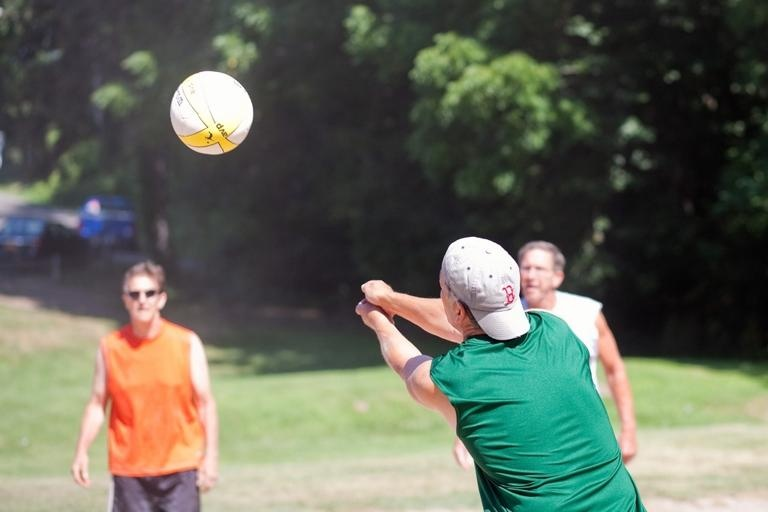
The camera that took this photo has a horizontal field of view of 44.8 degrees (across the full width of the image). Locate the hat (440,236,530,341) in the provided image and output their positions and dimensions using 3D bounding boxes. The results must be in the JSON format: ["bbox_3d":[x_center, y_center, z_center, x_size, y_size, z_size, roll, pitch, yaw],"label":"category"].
[{"bbox_3d":[0.810,0.240,7.752,0.732,0.949,0.594,-2,9,-6],"label":"hat"}]
